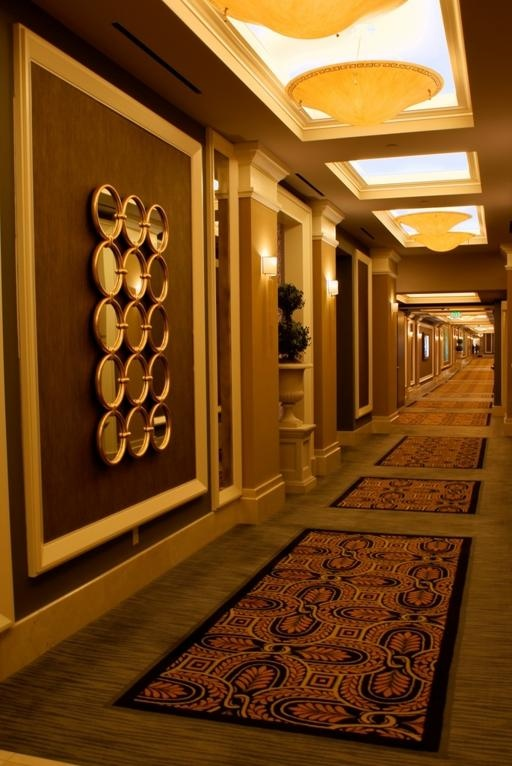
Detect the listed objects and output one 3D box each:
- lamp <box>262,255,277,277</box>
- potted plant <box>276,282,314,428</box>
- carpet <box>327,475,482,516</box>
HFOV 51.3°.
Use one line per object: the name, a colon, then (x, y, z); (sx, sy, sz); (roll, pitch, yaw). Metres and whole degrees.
lamp: (0.129, -1.177, 5.316); (0.107, 0.224, 0.205); (7, 10, 37)
potted plant: (0.494, -0.383, 6.714); (0.388, 1.936, 0.876); (-1, -6, 6)
carpet: (1.827, 1.320, 6.324); (1.495, 0.263, 1.993); (-4, -7, 24)
